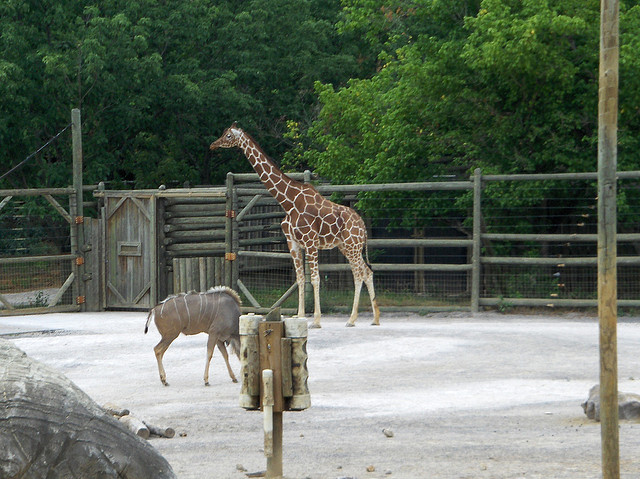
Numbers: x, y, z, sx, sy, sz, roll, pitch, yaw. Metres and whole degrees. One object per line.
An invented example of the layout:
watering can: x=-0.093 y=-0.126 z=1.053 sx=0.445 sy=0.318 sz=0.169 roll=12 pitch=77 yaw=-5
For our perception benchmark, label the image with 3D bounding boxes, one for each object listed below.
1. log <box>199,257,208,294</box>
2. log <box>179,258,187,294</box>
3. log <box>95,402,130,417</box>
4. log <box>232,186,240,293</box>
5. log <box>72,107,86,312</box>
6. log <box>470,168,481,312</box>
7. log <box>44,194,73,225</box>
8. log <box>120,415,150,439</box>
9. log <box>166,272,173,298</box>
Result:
log: x=-2.826 y=0.795 z=35.109 sx=0.189 sy=0.762 sz=0.350 roll=-2 pitch=14 yaw=-11
log: x=-3.323 y=0.806 z=35.168 sx=0.175 sy=0.725 sz=0.405 roll=-1 pitch=14 yaw=-7
log: x=-3.810 y=3.091 z=26.971 sx=0.449 sy=0.131 sz=0.614 roll=-7 pitch=18 yaw=-29
log: x=-2.059 y=-0.118 z=34.956 sx=0.165 sy=2.115 sz=0.190 roll=-8 pitch=-26 yaw=14
log: x=-5.888 y=-1.291 z=35.592 sx=0.257 sy=5.762 sz=0.277 roll=10 pitch=10 yaw=39
log: x=3.672 y=0.003 z=34.361 sx=0.204 sy=3.293 sz=0.631 roll=2 pitch=13 yaw=3
log: x=-6.407 y=-0.805 z=35.481 sx=0.639 sy=0.761 sz=0.873 roll=-5 pitch=16 yaw=-23
log: x=-3.379 y=3.330 z=26.443 sx=0.391 sy=0.427 sz=0.570 roll=-5 pitch=21 yaw=-42
log: x=-3.675 y=1.038 z=35.390 sx=0.154 sy=0.529 sz=0.241 roll=0 pitch=14 yaw=-5
